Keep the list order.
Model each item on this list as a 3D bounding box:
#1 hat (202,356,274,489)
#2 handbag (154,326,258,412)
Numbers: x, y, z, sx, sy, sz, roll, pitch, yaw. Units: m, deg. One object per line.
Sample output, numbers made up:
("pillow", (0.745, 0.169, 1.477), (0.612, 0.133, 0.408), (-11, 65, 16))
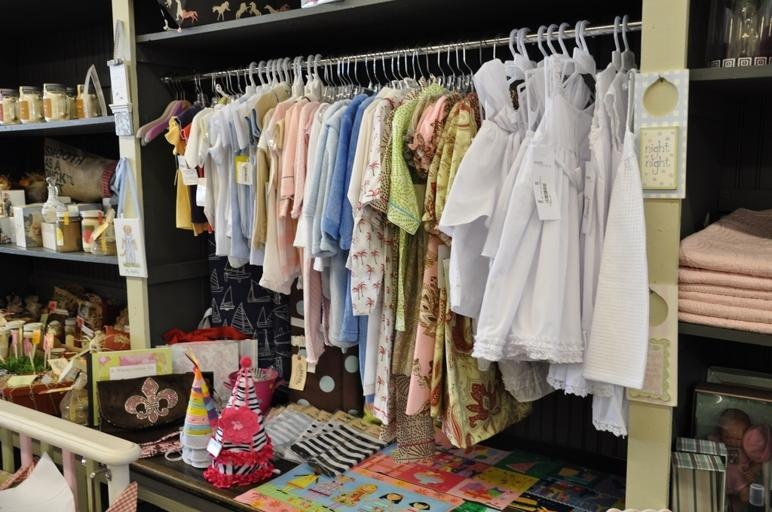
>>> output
("hat", (-0.567, 0.609, 2.241), (0.260, 0.464, 0.171), (-5, 9, -12))
("handbag", (-0.790, 0.424, 2.672), (0.501, 0.342, 0.278), (0, 2, 2))
